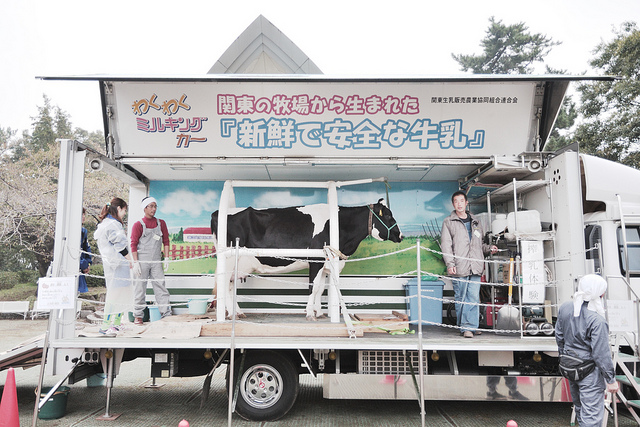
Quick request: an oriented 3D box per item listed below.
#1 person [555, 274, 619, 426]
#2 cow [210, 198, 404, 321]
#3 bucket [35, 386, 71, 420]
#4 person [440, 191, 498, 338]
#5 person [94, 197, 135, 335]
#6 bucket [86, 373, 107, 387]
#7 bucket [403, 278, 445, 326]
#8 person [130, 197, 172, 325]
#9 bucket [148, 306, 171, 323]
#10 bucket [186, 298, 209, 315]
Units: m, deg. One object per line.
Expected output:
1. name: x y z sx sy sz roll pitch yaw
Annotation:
1. person: 4.104 2.102 8.074 0.801 2.301 0.400 -3 -8 27
2. cow: -0.212 1.005 11.073 3.995 2.277 0.951 -1 -9 -3
3. bucket: -4.897 3.463 9.584 0.611 0.444 0.590 0 -9 0
4. person: 2.800 0.916 10.093 1.021 2.752 0.755 6 -9 -36
5. person: -4.011 0.936 10.246 0.801 2.612 1.265 3 -7 -20
6. bucket: -4.725 3.509 10.991 0.352 0.274 0.233 2 -7 -14
7. bucket: 2.166 1.867 11.009 0.968 1.053 0.837 1 -13 0
8. person: -3.492 0.938 10.837 0.894 2.555 0.846 6 -9 -37
9. bucket: -3.426 2.133 11.030 0.372 0.263 0.357 0 -13 0
10. bucket: -2.527 1.892 10.775 0.371 0.241 0.359 2 -7 0
